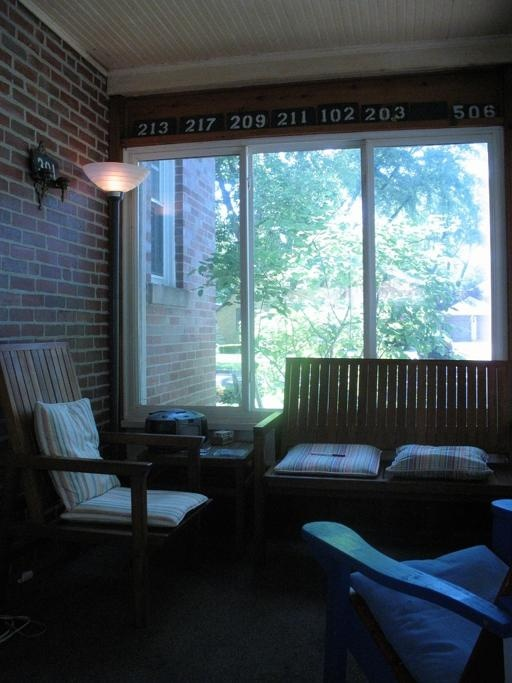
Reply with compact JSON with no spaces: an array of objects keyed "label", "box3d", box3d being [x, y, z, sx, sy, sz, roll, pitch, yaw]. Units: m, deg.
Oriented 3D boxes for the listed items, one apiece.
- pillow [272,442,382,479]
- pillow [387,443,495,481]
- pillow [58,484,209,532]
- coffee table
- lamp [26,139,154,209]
[{"label":"pillow","box3d":[0.360,0.575,2.633,0.476,0.070,0.428,-1,2,14]},{"label":"pillow","box3d":[0.819,0.545,2.428,0.438,0.125,0.248,-1,2,15]},{"label":"pillow","box3d":[-0.490,0.639,2.168,0.476,0.087,0.445,-1,2,15]},{"label":"coffee table","box3d":[-0.277,0.650,2.770,0.638,0.467,0.605,0,-2,12]},{"label":"lamp","box3d":[-0.806,-0.826,2.684,0.535,0.320,0.244,2,2,13]}]
